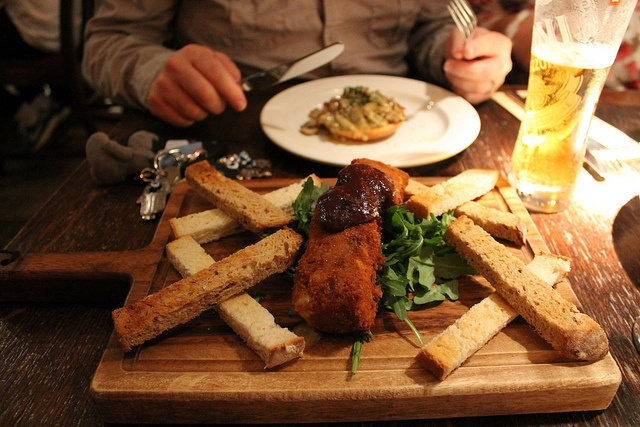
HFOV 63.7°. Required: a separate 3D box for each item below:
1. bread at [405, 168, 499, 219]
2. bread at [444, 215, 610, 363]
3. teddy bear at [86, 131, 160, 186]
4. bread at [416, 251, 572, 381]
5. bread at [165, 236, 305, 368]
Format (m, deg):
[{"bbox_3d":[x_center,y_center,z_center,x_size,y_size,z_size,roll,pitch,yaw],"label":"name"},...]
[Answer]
[{"bbox_3d":[0.851,-0.143,3.263,0.814,0.131,0.267,-19,44,-32],"label":"bread"},{"bbox_3d":[1.042,0.395,2.930,0.356,0.232,1.207,-22,51,-37],"label":"bread"},{"bbox_3d":[-1.387,-0.452,3.596,0.435,0.163,0.414,2,44,-11],"label":"teddy bear"},{"bbox_3d":[0.834,0.446,2.941,0.803,0.572,0.660,-4,13,-17],"label":"bread"},{"bbox_3d":[-0.461,0.507,2.865,0.216,0.139,0.911,-16,35,-40],"label":"bread"}]
